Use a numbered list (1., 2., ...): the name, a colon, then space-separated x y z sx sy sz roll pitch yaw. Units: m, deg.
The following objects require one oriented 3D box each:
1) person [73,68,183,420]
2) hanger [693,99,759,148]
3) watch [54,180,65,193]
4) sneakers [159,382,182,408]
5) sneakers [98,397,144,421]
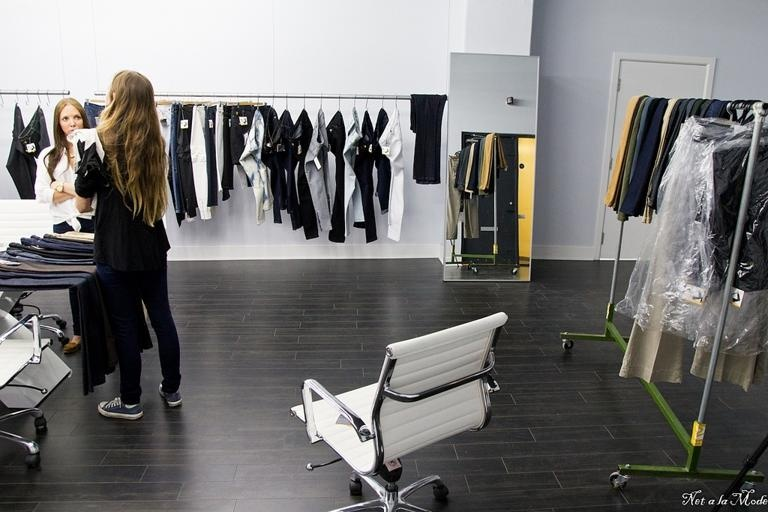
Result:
1. person: -1.565 -0.005 3.545 0.555 2.156 0.259 -10 17 -29
2. hanger: 1.994 -0.714 3.350 0.245 0.357 0.122 3 10 14
3. watch: -2.209 -0.464 3.912 0.096 0.073 0.041 56 10 32
4. sneakers: -1.457 0.940 3.930 0.087 0.098 0.227 0 11 -22
5. sneakers: -1.723 1.007 3.806 0.290 0.119 0.127 9 9 0
